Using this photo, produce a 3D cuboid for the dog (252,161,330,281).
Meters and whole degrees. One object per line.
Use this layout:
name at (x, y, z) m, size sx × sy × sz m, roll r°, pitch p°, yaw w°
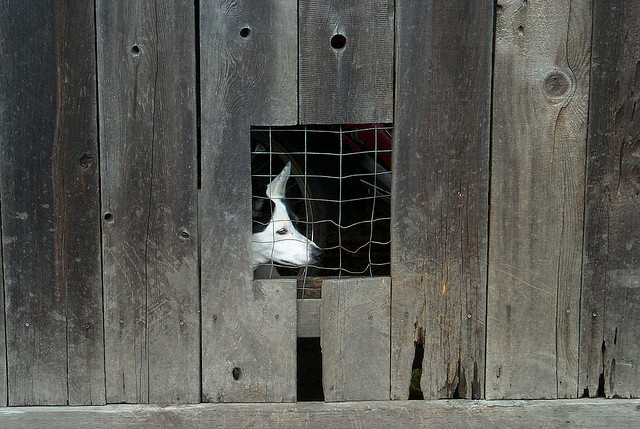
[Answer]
dog at (-0.161, 0.039, 5.639) m, size 0.347 × 0.663 × 0.430 m, roll 0°, pitch -14°, yaw -2°
